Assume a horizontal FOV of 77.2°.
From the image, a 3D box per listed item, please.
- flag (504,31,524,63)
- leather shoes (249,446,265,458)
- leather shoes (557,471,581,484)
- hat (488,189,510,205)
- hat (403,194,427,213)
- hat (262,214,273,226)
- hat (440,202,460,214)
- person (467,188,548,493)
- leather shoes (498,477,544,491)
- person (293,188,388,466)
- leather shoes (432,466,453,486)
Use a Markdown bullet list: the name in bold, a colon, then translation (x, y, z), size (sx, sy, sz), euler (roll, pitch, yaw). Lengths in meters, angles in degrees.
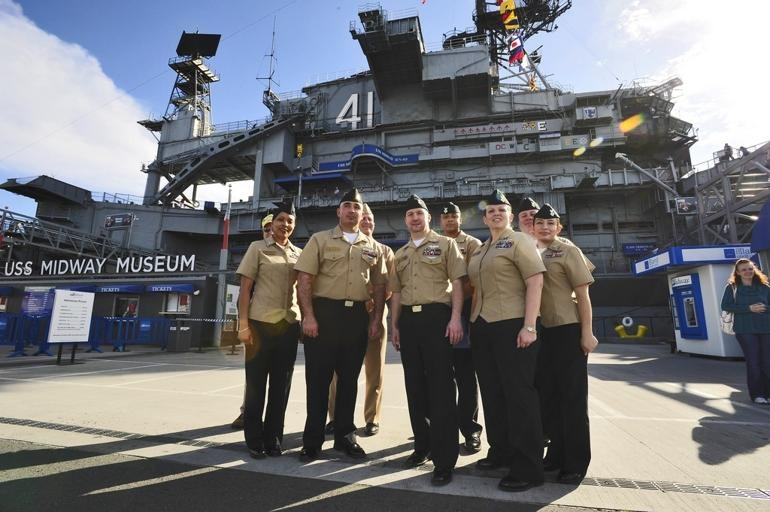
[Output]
- **flag**: translation (9.444, -14.670, 34.098), size (0.890, 1.807, 3.483), euler (2, 5, 19)
- **leather shoes**: translation (-1.930, 2.958, 7.259), size (0.221, 0.140, 0.130), euler (-1, 5, -15)
- **leather shoes**: translation (2.630, 3.143, 6.858), size (0.383, 0.147, 0.137), euler (-3, -5, 12)
- **hat**: translation (1.780, -0.927, 7.559), size (0.275, 0.215, 0.402), euler (-2, 8, 7)
- **hat**: translation (0.505, -0.866, 7.816), size (0.327, 0.231, 0.454), euler (-2, -13, 5)
- **hat**: translation (-2.066, -0.648, 8.431), size (0.211, 0.198, 0.270), euler (-2, -6, 14)
- **hat**: translation (1.139, -0.817, 8.385), size (0.369, 0.192, 0.494), euler (-1, 3, 0)
- **person**: translation (1.808, 1.112, 7.027), size (0.823, 4.170, 1.237), euler (-2, 5, -30)
- **leather shoes**: translation (1.885, 3.159, 6.732), size (0.509, 0.204, 0.213), euler (7, -16, -5)
- **person**: translation (-0.706, 0.982, 7.556), size (1.366, 4.083, 0.908), euler (-1, 5, -13)
- **leather shoes**: translation (0.847, 3.095, 6.800), size (0.417, 0.193, 0.177), euler (-2, 6, -28)
